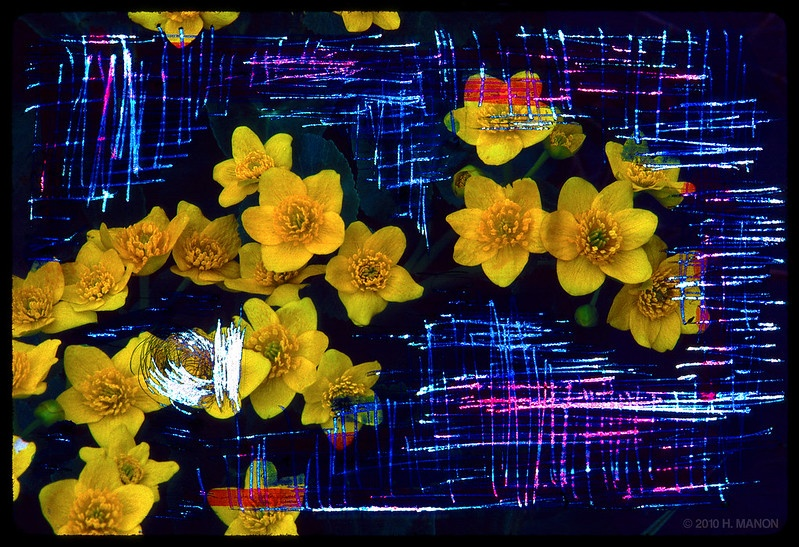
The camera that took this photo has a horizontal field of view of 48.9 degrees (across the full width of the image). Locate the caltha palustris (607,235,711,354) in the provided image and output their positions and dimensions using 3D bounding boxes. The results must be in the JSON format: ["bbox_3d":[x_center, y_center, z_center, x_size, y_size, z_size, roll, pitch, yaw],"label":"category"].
[{"bbox_3d":[0.417,0.044,1.411,0.173,0.069,0.195,27,60,-25],"label":"caltha palustris"}]

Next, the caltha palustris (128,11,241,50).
[{"bbox_3d":[-0.368,-0.409,1.474,0.172,0.157,0.056,-3,101,32],"label":"caltha palustris"}]

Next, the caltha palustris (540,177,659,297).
[{"bbox_3d":[0.315,-0.058,1.410,0.178,0.036,0.187,4,83,0],"label":"caltha palustris"}]
